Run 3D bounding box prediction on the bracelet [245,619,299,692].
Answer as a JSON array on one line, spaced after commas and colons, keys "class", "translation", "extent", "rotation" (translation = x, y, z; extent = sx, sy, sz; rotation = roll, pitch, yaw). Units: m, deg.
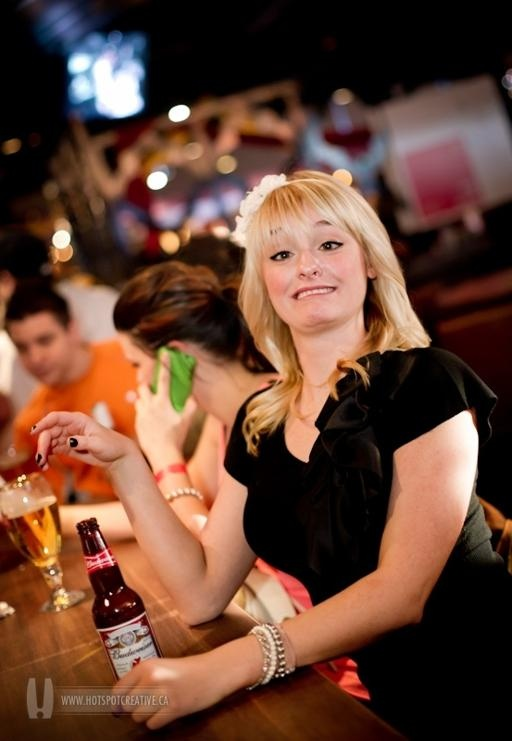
[{"class": "bracelet", "translation": [0.021, 0.397, 0.918], "extent": [0.024, 0.050, 0.059], "rotation": [-21, 17, -5]}]
